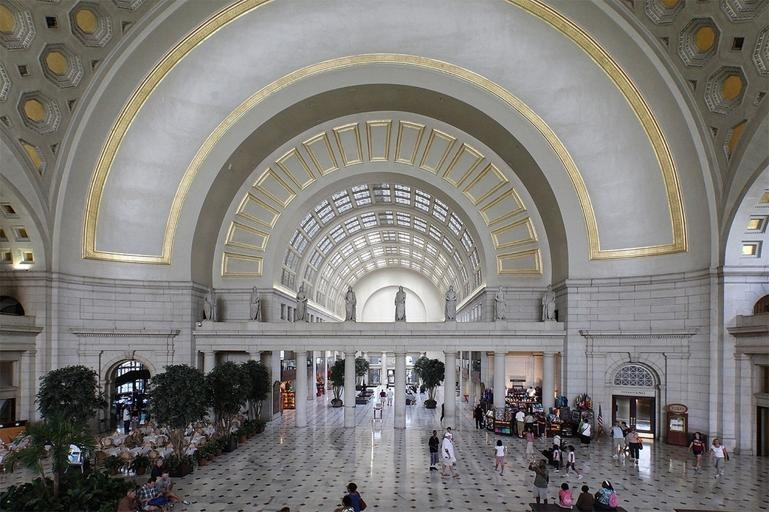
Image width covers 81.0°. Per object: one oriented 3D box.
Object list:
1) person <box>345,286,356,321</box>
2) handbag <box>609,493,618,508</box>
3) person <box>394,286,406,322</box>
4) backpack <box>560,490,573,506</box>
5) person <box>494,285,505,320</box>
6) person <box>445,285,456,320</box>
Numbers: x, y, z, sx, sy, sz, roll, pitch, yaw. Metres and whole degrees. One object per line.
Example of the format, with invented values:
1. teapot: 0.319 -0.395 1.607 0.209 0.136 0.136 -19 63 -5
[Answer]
1. person: -2.216 3.286 30.153 0.494 2.167 0.882 5 -14 -16
2. handbag: 8.111 8.691 16.090 0.310 0.485 0.129 8 -15 -28
3. person: 1.057 3.283 29.518 0.511 1.763 1.093 2 -14 -7
4. backpack: 6.517 8.707 16.247 0.375 0.611 0.340 -1 -13 7
5. person: 7.498 3.167 29.528 0.593 2.162 1.215 -2 -14 11
6. person: 4.382 3.175 29.992 0.572 2.267 1.261 0 -13 4
